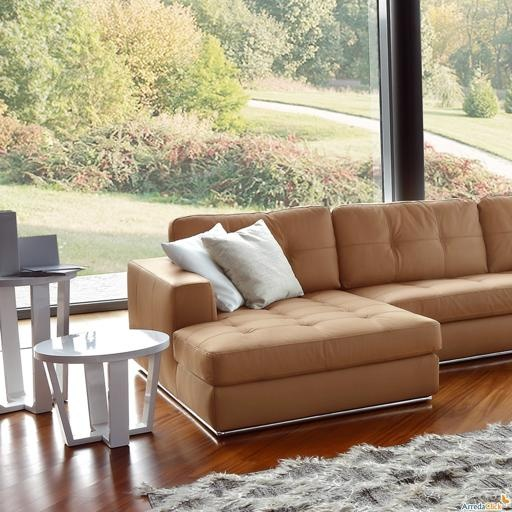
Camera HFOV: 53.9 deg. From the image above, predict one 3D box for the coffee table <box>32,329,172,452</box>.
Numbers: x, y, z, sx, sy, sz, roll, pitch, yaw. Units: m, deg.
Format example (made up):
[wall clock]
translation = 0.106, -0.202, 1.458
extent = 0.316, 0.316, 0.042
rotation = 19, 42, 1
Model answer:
[coffee table]
translation = -0.600, 0.470, 1.988
extent = 0.588, 0.320, 0.491
rotation = -1, -5, -33
